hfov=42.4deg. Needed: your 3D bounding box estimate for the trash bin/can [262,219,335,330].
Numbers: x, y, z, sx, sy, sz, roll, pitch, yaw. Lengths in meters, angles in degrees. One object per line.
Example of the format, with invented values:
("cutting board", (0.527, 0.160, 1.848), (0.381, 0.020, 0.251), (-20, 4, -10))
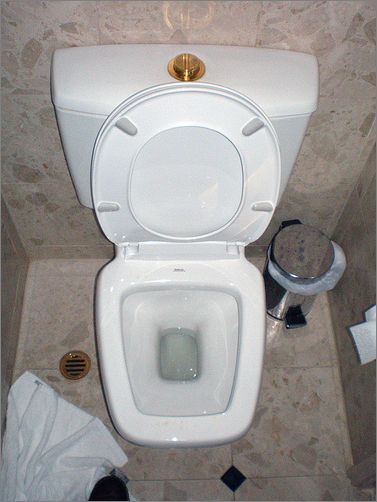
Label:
("trash bin/can", (0.299, 0.059, 1.327), (0.212, 0.372, 0.260), (4, 71, 8))
